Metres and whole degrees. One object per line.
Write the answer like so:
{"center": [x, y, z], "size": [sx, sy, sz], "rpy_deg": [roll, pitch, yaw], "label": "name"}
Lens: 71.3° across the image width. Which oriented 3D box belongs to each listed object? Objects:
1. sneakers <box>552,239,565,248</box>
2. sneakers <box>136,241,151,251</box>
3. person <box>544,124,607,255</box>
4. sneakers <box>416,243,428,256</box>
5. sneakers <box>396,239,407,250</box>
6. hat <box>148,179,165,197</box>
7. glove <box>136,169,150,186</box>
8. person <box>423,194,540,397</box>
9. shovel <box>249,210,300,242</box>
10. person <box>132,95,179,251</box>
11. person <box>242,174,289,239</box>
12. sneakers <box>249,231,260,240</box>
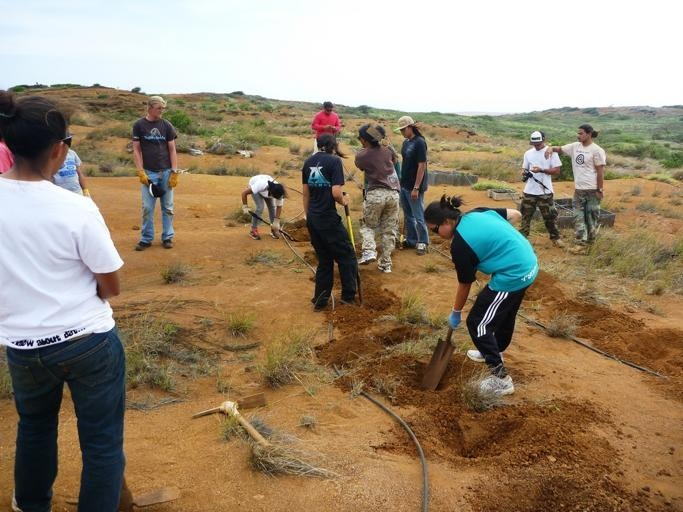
{"center": [4.378, -0.250, 9.455], "size": [0.109, 0.119, 0.281], "rpy_deg": [-35, 11, -4], "label": "sneakers"}
{"center": [-3.548, -0.175, 8.489], "size": [0.117, 0.113, 0.321], "rpy_deg": [2, 2, 11], "label": "sneakers"}
{"center": [4.589, -1.307, 9.173], "size": [0.946, 2.370, 1.020], "rpy_deg": [10, 19, 24], "label": "person"}
{"center": [1.529, -0.130, 8.985], "size": [0.254, 0.263, 0.647], "rpy_deg": [0, 2, 16], "label": "sneakers"}
{"center": [1.188, -0.228, 9.346], "size": [0.154, 0.076, 0.206], "rpy_deg": [14, 59, 6], "label": "sneakers"}
{"center": [-3.174, -1.144, 8.126], "size": [0.219, 0.299, 0.338], "rpy_deg": [1, 16, -6], "label": "hat"}
{"center": [-3.353, -1.332, 8.032], "size": [0.158, 0.257, 0.327], "rpy_deg": [-5, 17, -23], "label": "glove"}
{"center": [1.536, 0.389, 5.016], "size": [0.994, 1.998, 0.936], "rpy_deg": [-11, 22, -35], "label": "person"}
{"center": [-1.429, -0.607, 9.968], "size": [1.926, 0.143, 0.315], "rpy_deg": [22, -10, 29], "label": "shovel"}
{"center": [-3.254, -1.401, 8.236], "size": [0.657, 2.626, 0.838], "rpy_deg": [16, 23, 37], "label": "person"}
{"center": [-1.537, -0.962, 9.410], "size": [0.746, 1.282, 2.359], "rpy_deg": [-1, 15, -10], "label": "person"}
{"center": [-1.731, -0.421, 9.515], "size": [0.110, 0.110, 0.261], "rpy_deg": [-13, 20, -33], "label": "sneakers"}
